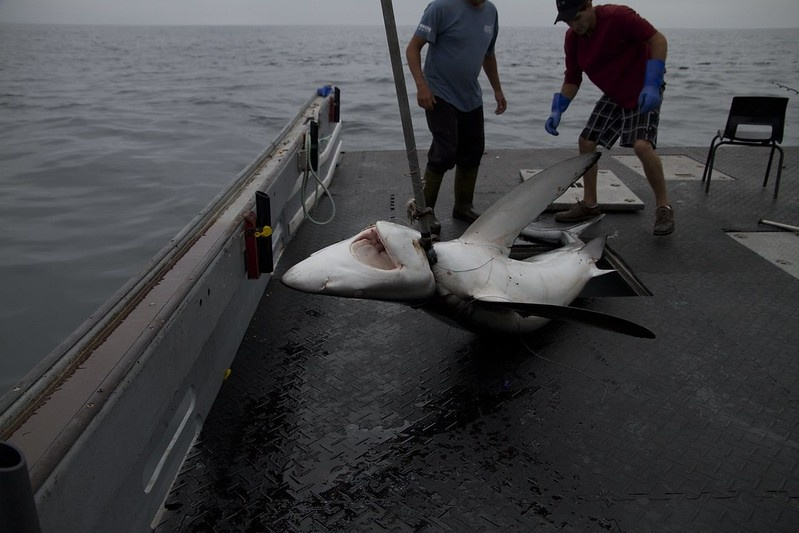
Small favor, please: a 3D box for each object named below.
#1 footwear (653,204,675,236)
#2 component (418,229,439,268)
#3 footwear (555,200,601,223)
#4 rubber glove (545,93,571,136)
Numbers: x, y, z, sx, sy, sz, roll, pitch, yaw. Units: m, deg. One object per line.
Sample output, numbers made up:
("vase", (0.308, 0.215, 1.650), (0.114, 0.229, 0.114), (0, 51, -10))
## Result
("footwear", (2.216, -0.385, 4.447), (0.123, 0.141, 0.328), (-3, 27, 35))
("component", (0.160, -0.112, 3.074), (0.108, 0.188, 0.077), (-28, 12, -37))
("footwear", (1.562, -0.485, 4.753), (0.414, 0.165, 0.162), (-1, 29, 9))
("rubber glove", (1.429, -1.423, 4.752), (0.217, 0.155, 0.420), (27, 48, 4))
